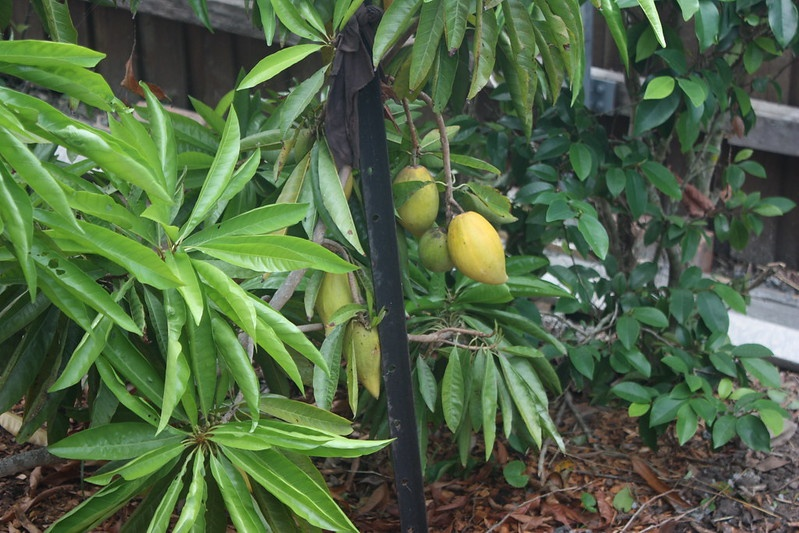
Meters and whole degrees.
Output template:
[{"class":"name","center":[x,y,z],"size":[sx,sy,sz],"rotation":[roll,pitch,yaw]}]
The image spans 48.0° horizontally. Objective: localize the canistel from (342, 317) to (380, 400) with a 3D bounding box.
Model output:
[{"class":"canistel","center":[-0.111,0.252,2.494],"size":[0.073,0.231,0.079],"rotation":[-3,3,2]}]

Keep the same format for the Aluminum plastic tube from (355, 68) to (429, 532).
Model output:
[{"class":"Aluminum plastic tube","center":[-0.034,0.122,2.508],"size":[0.123,1.255,0.356],"rotation":[-7,20,-20]}]

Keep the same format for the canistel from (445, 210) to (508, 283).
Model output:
[{"class":"canistel","center":[0.217,-0.039,2.513],"size":[0.147,0.221,0.126],"rotation":[-7,21,-20]}]

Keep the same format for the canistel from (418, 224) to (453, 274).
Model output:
[{"class":"canistel","center":[0.135,-0.055,2.584],"size":[0.121,0.148,0.125],"rotation":[-2,-2,25]}]
